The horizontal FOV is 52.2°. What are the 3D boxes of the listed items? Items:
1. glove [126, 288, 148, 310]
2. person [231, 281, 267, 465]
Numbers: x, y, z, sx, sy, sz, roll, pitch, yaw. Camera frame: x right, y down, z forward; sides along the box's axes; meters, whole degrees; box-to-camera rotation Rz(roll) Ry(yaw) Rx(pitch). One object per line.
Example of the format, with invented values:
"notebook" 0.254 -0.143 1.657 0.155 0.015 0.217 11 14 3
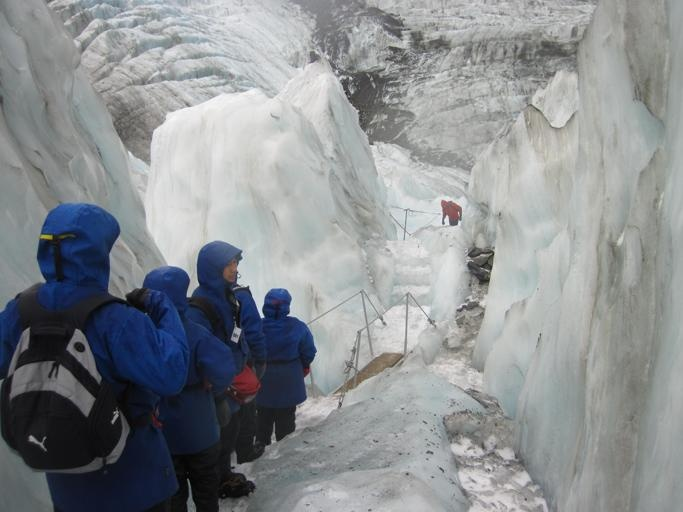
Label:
"glove" -0.814 0.164 2.807 0.069 0.094 0.088 -2 -25 -36
"person" -0.486 0.636 3.644 0.237 1.014 0.387 -8 42 -8
